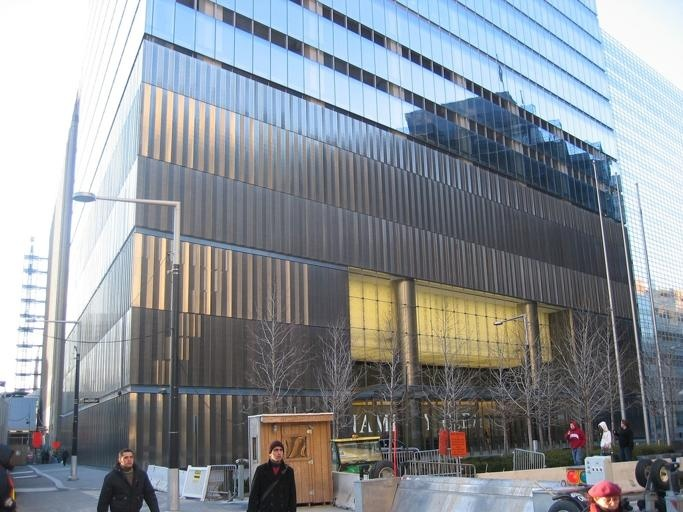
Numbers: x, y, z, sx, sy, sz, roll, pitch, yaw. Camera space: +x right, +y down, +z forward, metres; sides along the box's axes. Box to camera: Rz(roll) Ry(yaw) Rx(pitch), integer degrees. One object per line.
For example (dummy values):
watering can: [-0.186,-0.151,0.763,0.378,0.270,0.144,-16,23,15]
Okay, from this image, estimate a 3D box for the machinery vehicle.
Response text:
machinery vehicle: [0.719,7.367,22.639,2.100,2.381,3.694,-1,-28,-2]

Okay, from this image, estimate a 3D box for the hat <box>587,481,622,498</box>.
hat: [4.075,3.606,9.212,0.283,0.132,0.315,-4,-9,7]
